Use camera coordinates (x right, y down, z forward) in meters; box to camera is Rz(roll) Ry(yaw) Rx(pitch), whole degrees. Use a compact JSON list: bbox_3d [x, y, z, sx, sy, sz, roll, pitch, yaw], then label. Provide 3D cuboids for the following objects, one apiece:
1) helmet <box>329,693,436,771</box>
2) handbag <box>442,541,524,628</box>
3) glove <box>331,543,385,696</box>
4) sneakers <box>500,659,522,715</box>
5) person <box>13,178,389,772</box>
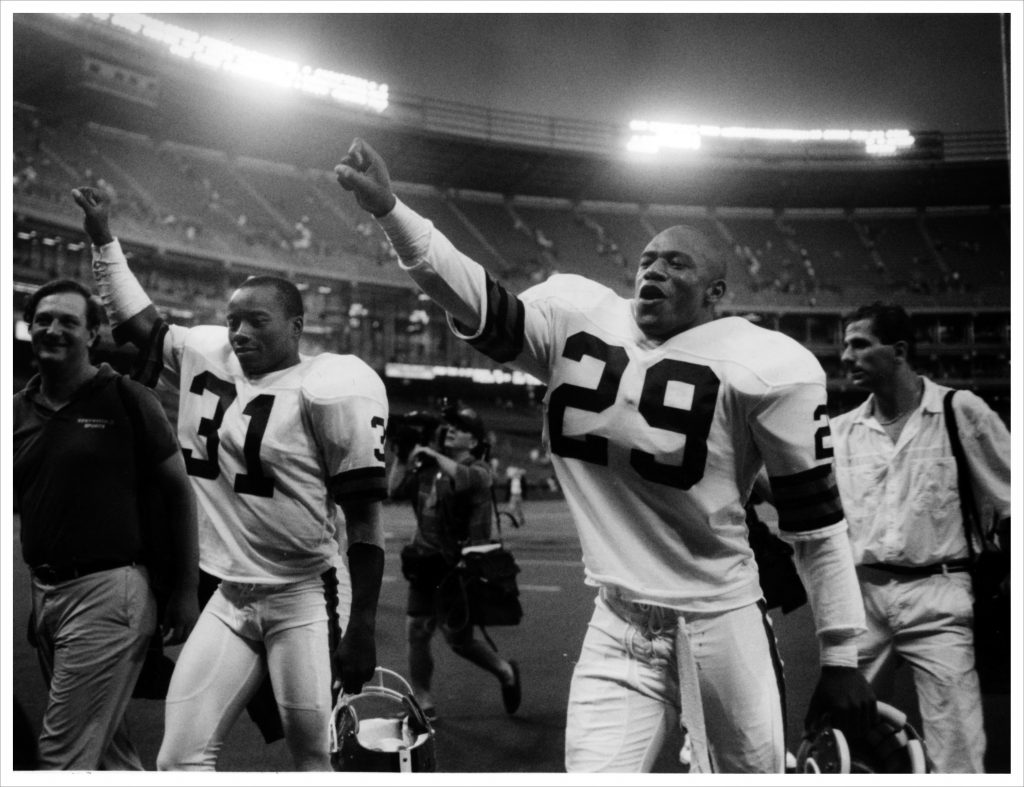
[{"bbox_3d":[-0.596,1.618,5.591,0.354,0.423,0.439,9,-7,-37],"label":"helmet"},{"bbox_3d":[-0.136,1.128,7.106,0.465,0.518,0.402,-2,-1,8],"label":"handbag"},{"bbox_3d":[-0.671,1.013,5.356,0.154,0.556,0.376,2,3,41],"label":"glove"},{"bbox_3d":[0.006,1.714,7.015,0.106,0.311,0.126,-3,5,36],"label":"sneakers"},{"bbox_3d":[-1.260,0.566,5.592,1.385,2.242,0.765,4,2,2],"label":"person"}]
